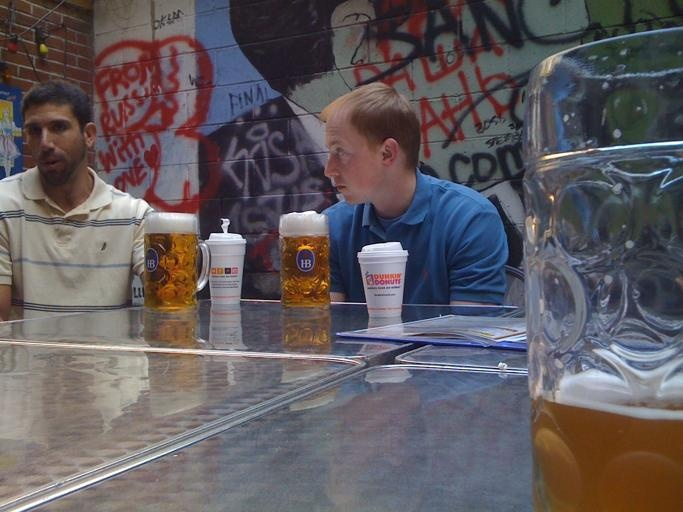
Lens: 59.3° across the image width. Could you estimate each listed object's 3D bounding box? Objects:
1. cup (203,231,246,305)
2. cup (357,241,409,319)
[{"bbox_3d":[-0.248,0.011,1.282,0.098,0.168,0.098,-1,4,0],"label":"cup"},{"bbox_3d":[0.070,0.043,1.105,0.102,0.130,0.099,-1,-2,0],"label":"cup"}]
